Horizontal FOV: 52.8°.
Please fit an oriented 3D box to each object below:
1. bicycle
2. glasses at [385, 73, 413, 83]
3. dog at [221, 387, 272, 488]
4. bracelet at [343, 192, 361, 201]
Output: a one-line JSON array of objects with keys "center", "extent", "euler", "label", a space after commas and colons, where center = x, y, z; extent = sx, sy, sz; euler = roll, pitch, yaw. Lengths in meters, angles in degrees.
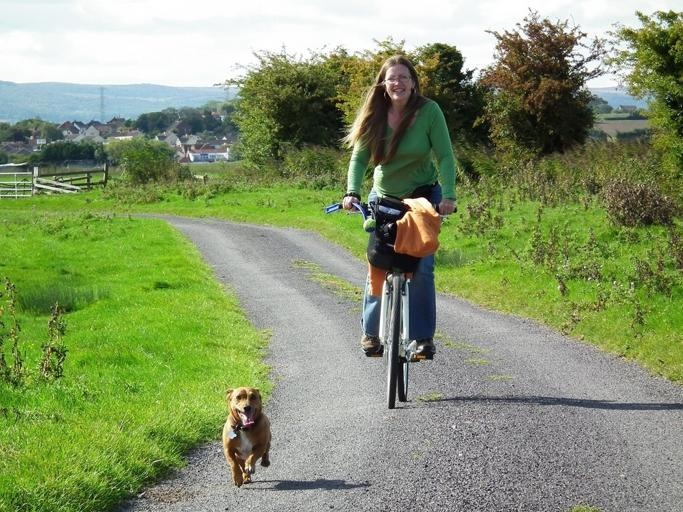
[{"center": [0.586, 0.528, 7.428], "extent": [0.892, 2.341, 0.572], "euler": [1, 8, 7], "label": "bicycle"}, {"center": [0.611, -1.920, 7.403], "extent": [0.283, 0.102, 0.098], "euler": [-2, 9, -9], "label": "glasses"}, {"center": [-0.853, 1.606, 6.247], "extent": [0.426, 0.890, 0.418], "euler": [-2, 8, -15], "label": "dog"}, {"center": [0.108, -0.649, 7.359], "extent": [0.168, 0.090, 0.286], "euler": [1, 10, 5], "label": "bracelet"}]
